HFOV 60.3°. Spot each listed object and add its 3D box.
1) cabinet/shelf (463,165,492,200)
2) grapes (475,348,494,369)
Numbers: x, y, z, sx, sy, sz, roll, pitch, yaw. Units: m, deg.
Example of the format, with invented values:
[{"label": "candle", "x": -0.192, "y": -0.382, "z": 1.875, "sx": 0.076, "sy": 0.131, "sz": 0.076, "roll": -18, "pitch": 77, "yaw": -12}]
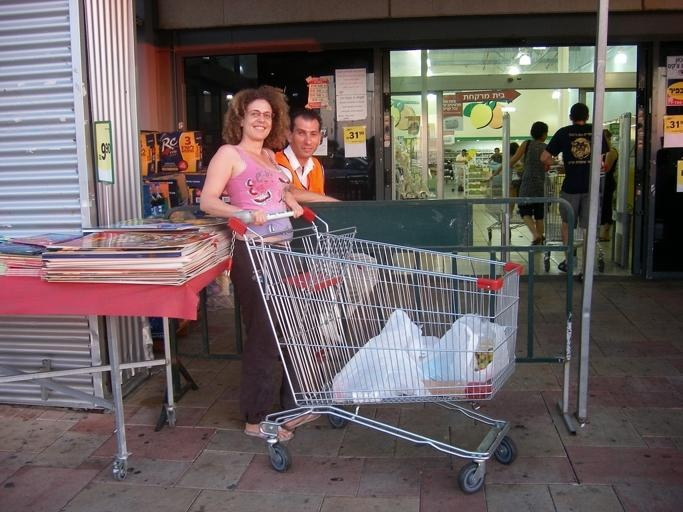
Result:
[{"label": "cabinet/shelf", "x": 1.906, "y": -1.019, "z": 8.265, "sx": 0.450, "sy": 0.612, "sz": 0.453, "roll": 1, "pitch": 5, "yaw": 5}, {"label": "grapes", "x": 0.761, "y": 0.550, "z": 3.139, "sx": 0.075, "sy": 0.040, "sz": 0.111, "roll": 2, "pitch": 16, "yaw": 8}]
